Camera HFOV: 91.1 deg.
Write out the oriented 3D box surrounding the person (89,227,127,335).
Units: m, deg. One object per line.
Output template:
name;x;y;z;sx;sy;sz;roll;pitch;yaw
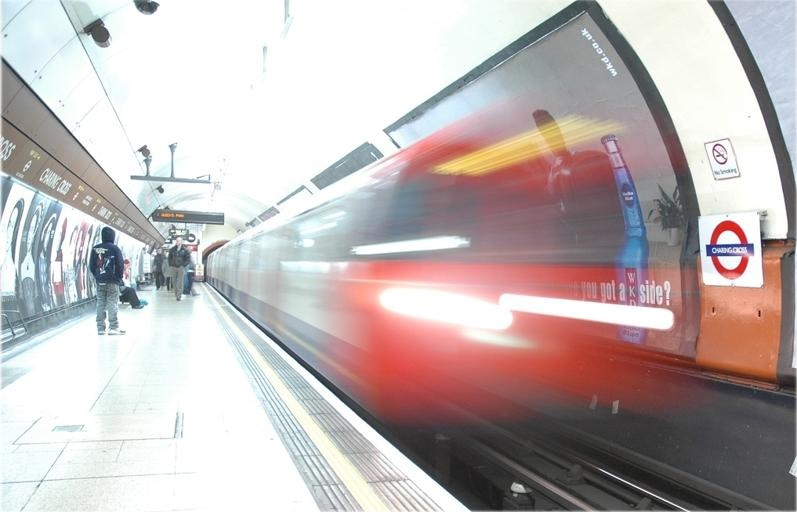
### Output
person;-6.300;0.555;8.497;0.543;2.360;1.156;-2;5;-36
